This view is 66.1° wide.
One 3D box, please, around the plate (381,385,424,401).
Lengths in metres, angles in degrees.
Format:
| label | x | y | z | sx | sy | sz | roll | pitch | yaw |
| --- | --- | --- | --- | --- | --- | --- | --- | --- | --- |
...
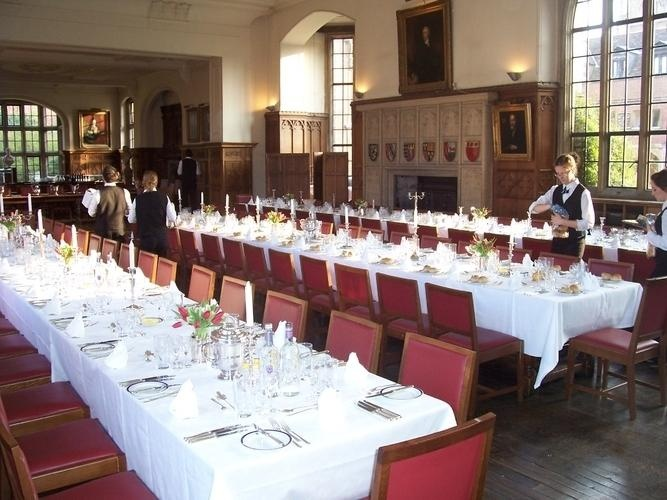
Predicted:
| label | x | y | z | sx | sy | sz | roll | pitch | yaw |
| --- | --- | --- | --- | --- | --- | --- | --- | --- | --- |
| plate | 0.382 | 0.780 | 2.778 | 0.170 | 0.014 | 0.205 | 13 | 17 | 36 |

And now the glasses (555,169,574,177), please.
| label | x | y | z | sx | sy | sz | roll | pitch | yaw |
| --- | --- | --- | --- | --- | --- | --- | --- | --- | --- |
| glasses | 2.760 | -0.910 | 6.065 | 0.148 | 0.065 | 0.121 | -4 | 6 | -40 |

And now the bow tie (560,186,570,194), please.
| label | x | y | z | sx | sy | sz | roll | pitch | yaw |
| --- | --- | --- | --- | --- | --- | --- | --- | --- | --- |
| bow tie | 2.853 | -0.728 | 6.272 | 0.018 | 0.079 | 0.074 | 7 | -5 | -36 |

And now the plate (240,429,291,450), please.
| label | x | y | z | sx | sy | sz | roll | pitch | yaw |
| --- | --- | --- | --- | --- | --- | --- | --- | --- | --- |
| plate | -0.304 | 0.854 | 2.314 | 0.227 | 0.019 | 0.171 | 2 | 14 | -3 |

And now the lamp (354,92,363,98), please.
| label | x | y | z | sx | sy | sz | roll | pitch | yaw |
| --- | --- | --- | --- | --- | --- | --- | --- | --- | --- |
| lamp | 0.713 | -4.278 | 14.260 | 0.178 | 0.155 | 0.176 | 4 | 7 | 15 |

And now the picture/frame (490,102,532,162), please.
| label | x | y | z | sx | sy | sz | roll | pitch | yaw |
| --- | --- | --- | --- | --- | --- | --- | --- | --- | --- |
| picture/frame | 3.912 | -2.592 | 11.134 | 0.092 | 1.469 | 1.091 | -14 | 16 | -35 |

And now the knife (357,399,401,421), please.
| label | x | y | z | sx | sy | sz | roll | pitch | yaw |
| --- | --- | --- | --- | --- | --- | --- | --- | --- | --- |
| knife | 0.222 | 0.777 | 2.591 | 0.071 | 0.020 | 0.221 | -8 | 13 | -29 |

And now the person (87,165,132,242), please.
| label | x | y | z | sx | sy | sz | roll | pitch | yaw |
| --- | --- | --- | --- | --- | --- | --- | --- | --- | --- |
| person | -3.876 | -0.488 | 8.762 | 0.699 | 1.849 | 0.602 | 1 | 21 | -18 |

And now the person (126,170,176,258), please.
| label | x | y | z | sx | sy | sz | roll | pitch | yaw |
| --- | --- | --- | --- | --- | --- | --- | --- | --- | --- |
| person | -2.830 | -0.276 | 7.946 | 0.673 | 1.815 | 0.613 | -3 | 24 | -26 |

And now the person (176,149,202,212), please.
| label | x | y | z | sx | sy | sz | roll | pitch | yaw |
| --- | --- | --- | --- | --- | --- | --- | --- | --- | --- |
| person | -4.863 | -2.351 | 17.164 | 0.670 | 2.223 | 0.667 | -2 | 34 | -18 |

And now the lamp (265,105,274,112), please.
| label | x | y | z | sx | sy | sz | roll | pitch | yaw |
| --- | --- | --- | --- | --- | --- | --- | --- | --- | --- |
| lamp | -2.128 | -4.728 | 17.164 | 0.130 | 0.197 | 0.451 | -10 | 18 | -44 |
